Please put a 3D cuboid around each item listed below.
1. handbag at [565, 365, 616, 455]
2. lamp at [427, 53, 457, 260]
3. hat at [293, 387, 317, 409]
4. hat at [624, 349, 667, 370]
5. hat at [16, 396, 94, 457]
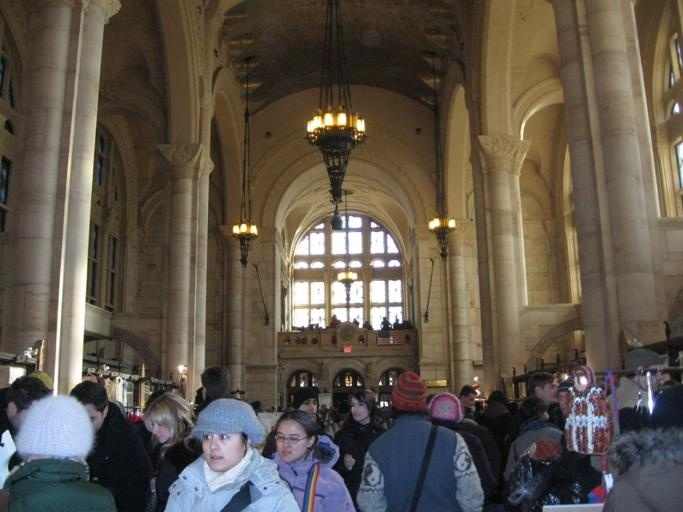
[{"bbox_3d":[1.714,1.068,4.669,0.218,0.572,0.325,11,-13,-38],"label":"handbag"},{"bbox_3d":[3.645,-3.143,25.065,0.864,5.230,0.866,-2,-3,-20],"label":"lamp"},{"bbox_3d":[-0.389,1.507,7.158,0.204,0.185,0.200,1,-16,-2],"label":"hat"},{"bbox_3d":[2.508,0.821,5.458,0.293,0.165,0.216,-16,1,4],"label":"hat"},{"bbox_3d":[-1.684,1.037,4.086,0.379,0.385,0.385,6,-4,-36],"label":"hat"}]
